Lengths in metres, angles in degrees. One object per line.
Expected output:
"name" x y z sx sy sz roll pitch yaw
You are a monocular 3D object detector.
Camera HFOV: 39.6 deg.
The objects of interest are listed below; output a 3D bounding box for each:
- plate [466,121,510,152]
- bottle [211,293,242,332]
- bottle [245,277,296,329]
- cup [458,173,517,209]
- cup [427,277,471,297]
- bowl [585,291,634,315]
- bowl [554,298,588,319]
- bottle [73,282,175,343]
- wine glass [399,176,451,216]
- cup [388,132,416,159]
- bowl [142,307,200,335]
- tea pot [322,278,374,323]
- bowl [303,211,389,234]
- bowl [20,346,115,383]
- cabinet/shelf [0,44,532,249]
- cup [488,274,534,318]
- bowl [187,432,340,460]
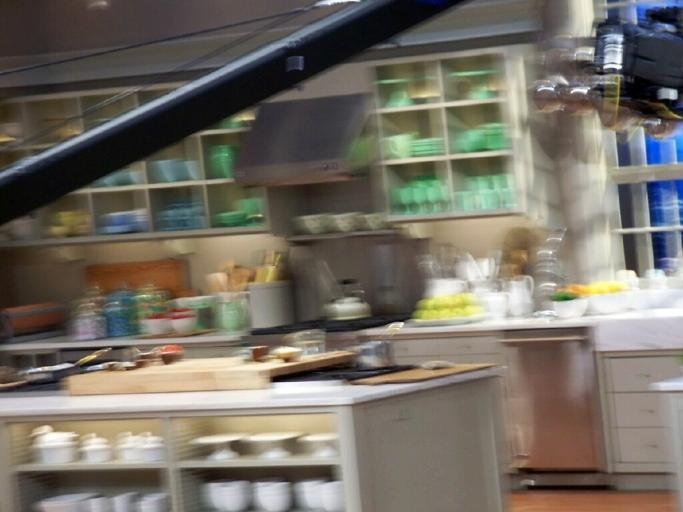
"plate" 0.899 -0.734 5.849 0.217 0.108 0.207 1 4 31
"bottle" -0.713 0.357 5.970 0.255 0.216 0.230 -2 3 23
"bottle" -0.500 0.300 6.092 0.348 0.289 0.327 -2 -3 -36
"cup" 0.878 -0.381 5.805 0.300 0.152 0.274 -1 2 0
"cup" 0.630 0.187 5.748 0.173 0.109 0.153 -1 0 15
"bowl" 1.490 0.264 5.352 0.168 0.077 0.169 -3 1 0
"bowl" 1.282 0.306 5.365 0.170 0.063 0.131 -2 -5 -9
"bottle" -1.439 0.370 6.222 0.654 0.317 0.335 -6 3 -15
"wine glass" 0.503 -0.373 5.904 0.328 0.183 0.125 -4 5 37
"cup" 0.360 -0.684 5.916 0.208 0.134 0.122 -4 6 -9
"bowl" -1.074 0.412 5.941 0.294 0.079 0.181 -4 -2 9
"tea pot" 0.034 0.284 5.998 0.319 0.179 0.272 -1 -3 -2
"bowl" -0.013 -0.209 6.093 0.589 0.118 0.137 -4 4 26
"bowl" -1.194 0.505 4.300 0.450 0.059 0.230 -12 10 -43
"cabinet/shelf" -0.595 -0.671 6.276 3.531 1.088 0.496 -5 4 12
"cup" 0.979 0.244 5.562 0.299 0.187 0.151 -6 3 0
"bowl" -0.293 0.735 3.666 0.592 0.091 0.054 -4 4 14
